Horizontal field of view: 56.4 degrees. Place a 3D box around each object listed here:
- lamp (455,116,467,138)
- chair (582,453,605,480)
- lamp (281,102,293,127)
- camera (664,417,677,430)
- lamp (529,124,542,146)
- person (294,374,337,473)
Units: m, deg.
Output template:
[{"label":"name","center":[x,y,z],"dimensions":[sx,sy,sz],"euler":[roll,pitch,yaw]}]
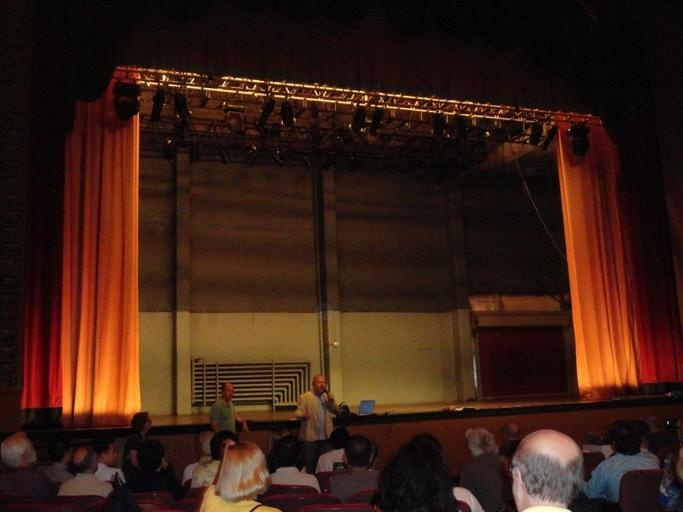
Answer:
[{"label":"lamp","center":[2.119,-2.307,11.290],"dimensions":[0.176,0.428,0.422],"euler":[-5,-14,6]},{"label":"chair","center":[2.379,1.979,5.996],"dimensions":[0.193,0.260,0.494],"euler":[-8,-15,19]},{"label":"lamp","center":[-0.913,-2.418,10.545],"dimensions":[0.175,0.527,0.385],"euler":[-1,-14,-7]},{"label":"camera","center":[3.941,1.984,7.565],"dimensions":[0.142,0.129,0.163],"euler":[2,-10,-6]},{"label":"lamp","center":[3.516,-2.238,11.555],"dimensions":[0.204,0.370,0.363],"euler":[-5,-14,7]},{"label":"person","center":[-0.329,2.164,8.231],"dimensions":[0.512,1.229,0.628],"euler":[-2,-13,-3]}]
